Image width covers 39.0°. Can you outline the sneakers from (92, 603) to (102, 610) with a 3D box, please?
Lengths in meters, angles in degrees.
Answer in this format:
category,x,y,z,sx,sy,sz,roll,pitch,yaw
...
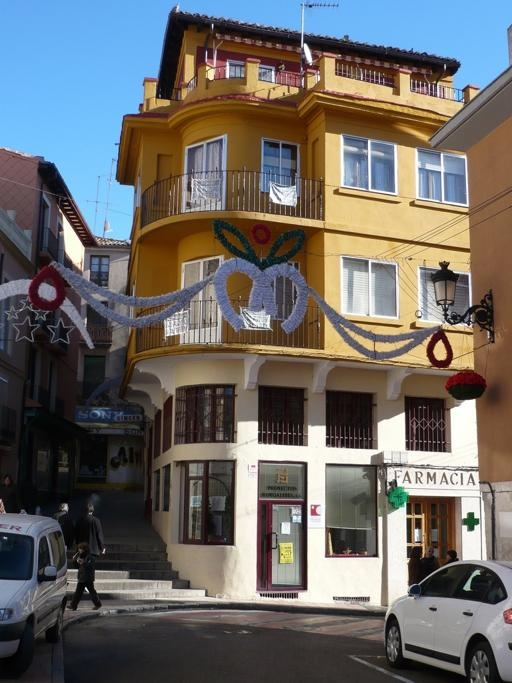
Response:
category,x,y,z,sx,sy,sz,roll,pitch,yaw
sneakers,-2.991,5.014,13.571,0.138,0.120,0.538,5,-15,-12

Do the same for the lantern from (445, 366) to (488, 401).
category,x,y,z,sx,sy,sz,roll,pitch,yaw
lantern,3.480,0.704,11.956,0.601,0.527,0.573,-7,-17,30

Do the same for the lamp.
category,x,y,z,sx,sy,sz,roll,pitch,yaw
lamp,3.481,-0.726,12.118,0.979,1.444,0.430,5,21,25

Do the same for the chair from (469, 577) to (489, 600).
category,x,y,z,sx,sy,sz,roll,pitch,yaw
chair,2.088,2.321,6.749,0.110,0.218,0.208,1,-25,15
